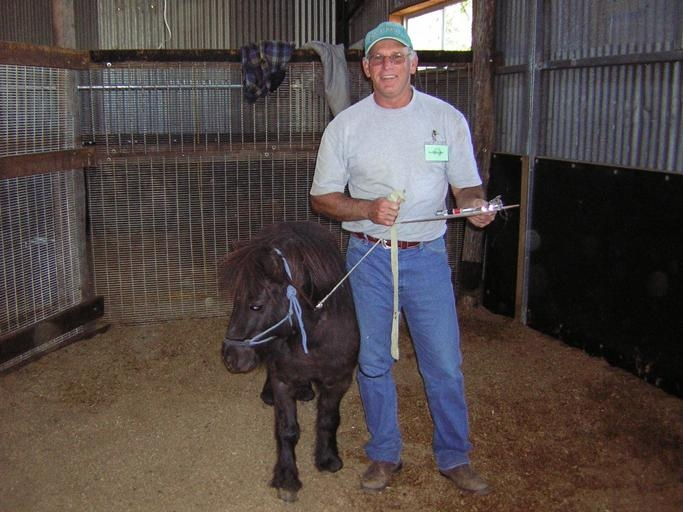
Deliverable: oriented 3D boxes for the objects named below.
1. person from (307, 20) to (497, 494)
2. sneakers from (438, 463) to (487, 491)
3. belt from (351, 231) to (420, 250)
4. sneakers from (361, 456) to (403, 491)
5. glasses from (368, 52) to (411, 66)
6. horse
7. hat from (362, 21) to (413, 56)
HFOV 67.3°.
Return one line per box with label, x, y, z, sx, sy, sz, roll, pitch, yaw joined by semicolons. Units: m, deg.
person;0.345;0.070;2.821;0.932;2.633;0.794;1;6;18
sneakers;0.727;1.309;3.051;0.288;0.129;0.128;4;12;40
belt;0.226;-0.087;2.848;0.406;0.065;0.096;8;18;24
sneakers;0.232;1.318;3.068;0.124;0.123;0.268;1;2;33
glasses;0.249;-1.034;2.680;0.210;0.065;0.063;2;16;6
horse;-0.281;0.642;2.910;0.804;1.639;0.308;-10;18;-32
hat;0.219;-1.193;2.778;0.216;0.191;0.312;-4;7;-1
